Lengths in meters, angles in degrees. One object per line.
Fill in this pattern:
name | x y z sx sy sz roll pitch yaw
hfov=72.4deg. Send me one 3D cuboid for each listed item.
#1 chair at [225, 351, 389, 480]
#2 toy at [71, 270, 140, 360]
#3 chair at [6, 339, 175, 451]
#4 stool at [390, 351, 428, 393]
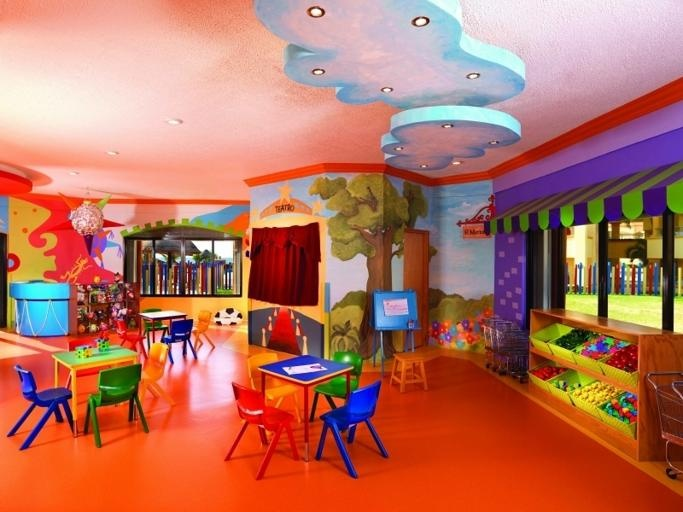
chair | -0.479 1.637 5.132 1.307 0.618 1.278 -1 0 -40
toy | -5.094 1.279 10.054 0.531 1.407 1.637 -10 -13 42
chair | -3.251 1.594 5.761 1.335 0.636 1.323 3 2 41
stool | 1.107 1.855 7.399 0.782 0.544 0.760 -9 -15 32
